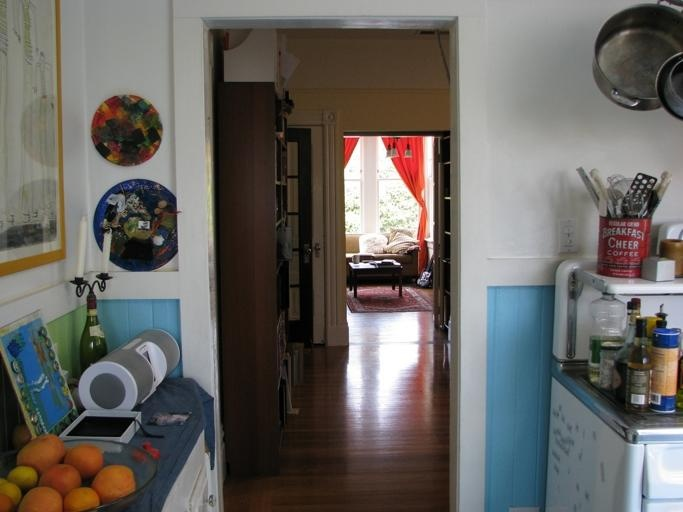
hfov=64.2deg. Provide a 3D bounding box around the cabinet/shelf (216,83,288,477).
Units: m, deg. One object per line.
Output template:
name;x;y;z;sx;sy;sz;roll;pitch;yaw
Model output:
cabinet/shelf;-0.521;0.174;3.055;0.328;2.240;0.130;-2;7;-12

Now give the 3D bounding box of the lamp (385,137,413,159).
lamp;0.972;-1.820;9.054;0.393;0.359;1.185;1;7;8

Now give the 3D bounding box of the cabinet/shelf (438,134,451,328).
cabinet/shelf;1.126;-0.249;5.991;0.122;2.152;0.269;1;7;10

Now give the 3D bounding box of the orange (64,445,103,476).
orange;-0.771;0.585;1.639;0.083;0.098;0.090;6;6;4

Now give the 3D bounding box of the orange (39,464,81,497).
orange;-0.788;0.601;1.522;0.078;0.093;0.076;2;-1;-43

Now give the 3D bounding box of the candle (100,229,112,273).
candle;-0.979;-0.014;2.272;0.044;0.181;0.214;-3;7;-23

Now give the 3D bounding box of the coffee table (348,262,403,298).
coffee table;0.521;0.310;8.356;0.590;0.421;0.586;0;6;-2

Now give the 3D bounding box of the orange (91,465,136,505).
orange;-0.643;0.642;1.542;0.099;0.094;0.090;-9;-10;27

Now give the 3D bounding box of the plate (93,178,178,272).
plate;-0.896;-0.135;2.362;0.350;0.386;0.061;1;6;7

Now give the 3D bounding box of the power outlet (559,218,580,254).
power outlet;0.994;-0.089;2.396;0.080;0.144;0.020;-2;7;-12

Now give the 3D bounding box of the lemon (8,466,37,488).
lemon;-0.899;0.624;1.543;0.057;0.063;0.064;0;-8;39

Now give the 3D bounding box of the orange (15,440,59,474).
orange;-0.885;0.580;1.594;0.081;0.054;0.094;-4;2;2

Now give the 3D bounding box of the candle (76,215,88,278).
candle;-1.035;-0.035;2.160;0.047;0.240;0.195;-3;7;-26

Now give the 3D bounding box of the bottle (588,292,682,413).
bottle;1.109;0.340;2.112;0.240;0.381;0.391;0;7;3

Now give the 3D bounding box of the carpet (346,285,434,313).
carpet;0.666;0.597;7.939;1.177;0.058;1.768;0;7;4

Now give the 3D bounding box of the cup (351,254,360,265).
cup;0.223;0.043;8.713;0.097;0.128;0.128;1;-1;-7

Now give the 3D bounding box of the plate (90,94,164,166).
plate;-0.927;-0.534;2.280;0.267;0.312;0.060;0;7;-4

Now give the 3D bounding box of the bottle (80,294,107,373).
bottle;-1.017;0.298;2.214;0.098;0.325;0.197;-4;7;-27
